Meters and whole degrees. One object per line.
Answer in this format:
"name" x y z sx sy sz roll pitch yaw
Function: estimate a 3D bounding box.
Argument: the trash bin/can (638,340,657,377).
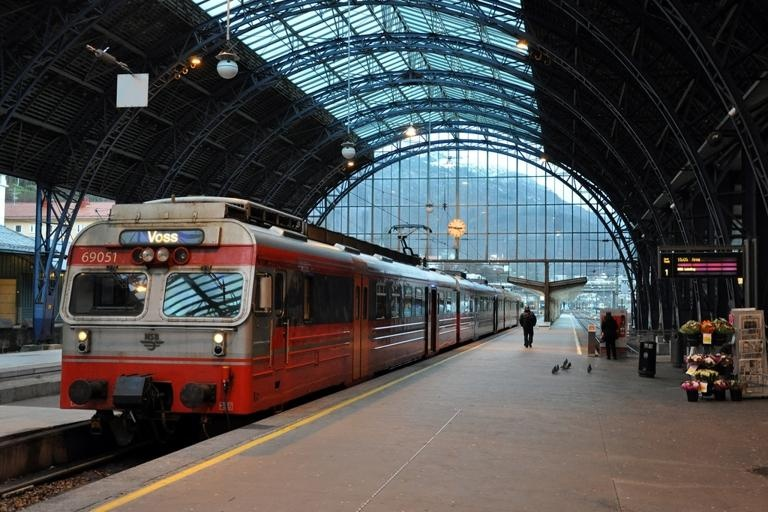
"trash bin/can" 8.682 3.416 19.713 0.419 1.163 0.629 6 -8 -39

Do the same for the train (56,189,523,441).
"train" -0.770 2.360 22.535 3.541 4.411 23.458 -2 -7 17

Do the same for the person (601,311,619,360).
"person" 9.892 3.473 26.176 0.667 2.054 1.453 -2 -7 20

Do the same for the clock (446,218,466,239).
"clock" 6.677 -2.866 53.715 2.098 2.226 0.507 -6 -9 22

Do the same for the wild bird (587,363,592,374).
"wild bird" 7.341 4.044 21.359 0.113 0.306 0.143 28 -30 -33

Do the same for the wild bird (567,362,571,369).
"wild bird" 6.721 4.002 21.752 0.066 0.242 0.104 -4 5 -4

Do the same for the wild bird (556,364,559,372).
"wild bird" 5.880 3.836 20.291 0.097 0.345 0.100 -29 -60 32
